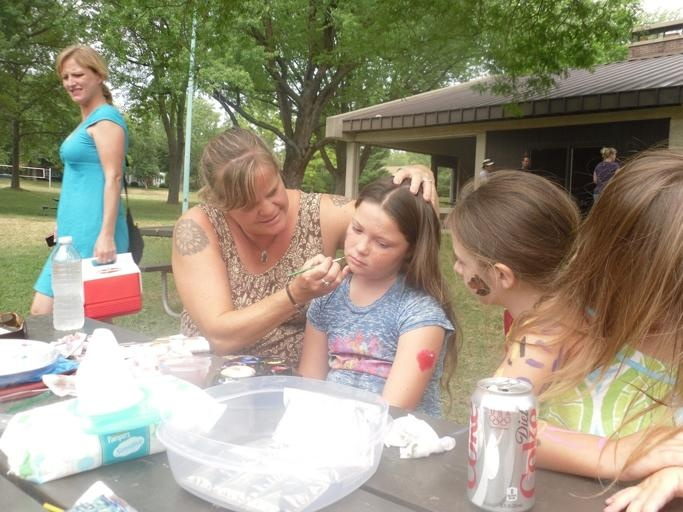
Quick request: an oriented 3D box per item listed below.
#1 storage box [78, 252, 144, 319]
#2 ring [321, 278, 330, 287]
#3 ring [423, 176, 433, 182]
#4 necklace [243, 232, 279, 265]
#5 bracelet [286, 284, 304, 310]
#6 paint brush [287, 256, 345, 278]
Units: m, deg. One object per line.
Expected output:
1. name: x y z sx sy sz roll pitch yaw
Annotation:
1. storage box: -1.166 0.136 2.629 0.221 0.291 0.308 10 13 38
2. ring: -0.063 0.101 2.069 0.024 0.029 0.010 -17 4 16
3. ring: 0.361 -0.325 2.271 0.015 0.022 0.030 -10 -23 29
4. necklace: -0.382 -0.056 2.527 0.121 0.176 0.061 -2 8 -8
5. bracelet: -0.187 0.167 2.145 0.023 0.086 0.083 -33 40 -21
6. paint brush: -0.116 0.044 2.203 0.206 0.018 0.023 -22 -38 11
